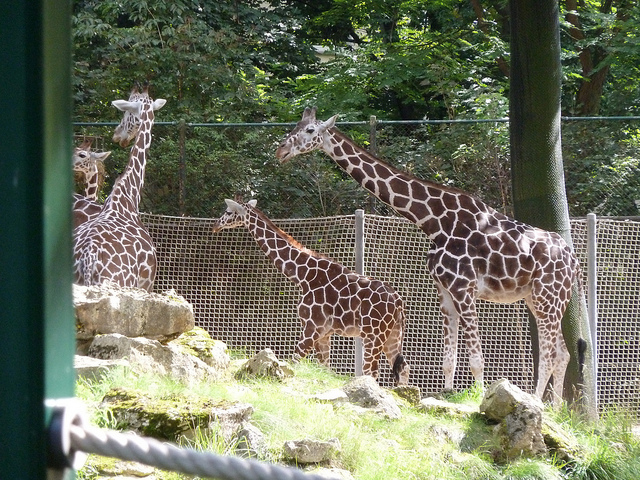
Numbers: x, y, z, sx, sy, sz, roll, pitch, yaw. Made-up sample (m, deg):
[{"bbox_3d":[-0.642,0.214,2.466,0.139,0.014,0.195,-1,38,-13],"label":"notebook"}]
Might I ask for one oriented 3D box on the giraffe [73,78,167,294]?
[{"bbox_3d":[-2.078,-0.613,10.304,0.756,1.619,1.249,3,1,-1],"label":"giraffe"}]
